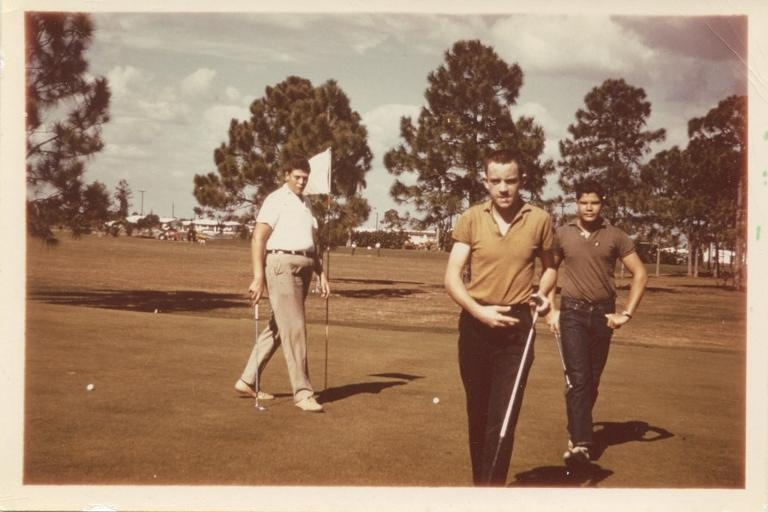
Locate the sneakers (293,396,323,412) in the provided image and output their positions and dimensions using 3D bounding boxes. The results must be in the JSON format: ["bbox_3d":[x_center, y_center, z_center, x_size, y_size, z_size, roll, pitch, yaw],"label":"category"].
[{"bbox_3d":[-0.940,1.866,9.577,0.180,0.145,0.319,3,-7,-33],"label":"sneakers"}]

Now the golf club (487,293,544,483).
[{"bbox_3d":[1.373,1.426,7.945,0.227,2.166,0.193,12,-11,45],"label":"golf club"}]

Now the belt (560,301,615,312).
[{"bbox_3d":[2.403,0.574,8.861,0.595,0.132,0.123,2,8,-1],"label":"belt"}]
